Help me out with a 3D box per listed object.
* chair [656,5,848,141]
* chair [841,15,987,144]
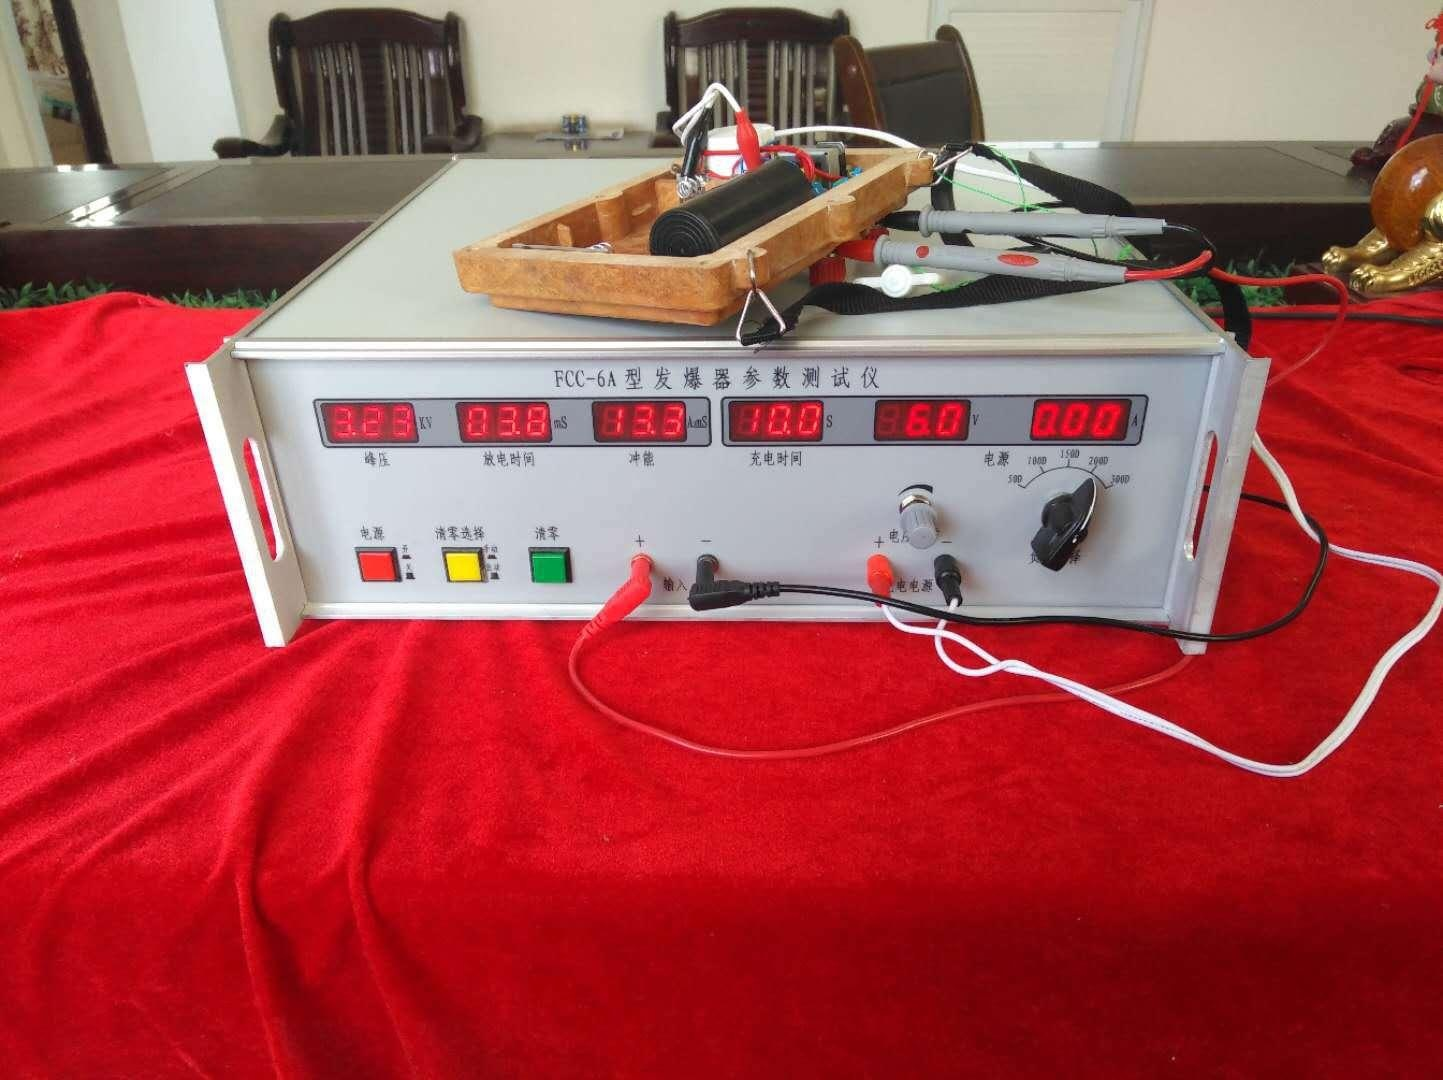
[{"bbox_3d":[0.099,-1.571,3.664,0.633,0.363,0.293,-2,25,-2],"label":"chair"},{"bbox_3d":[0.447,-1.026,2.489,0.243,0.241,0.649,12,28,25],"label":"chair"}]
